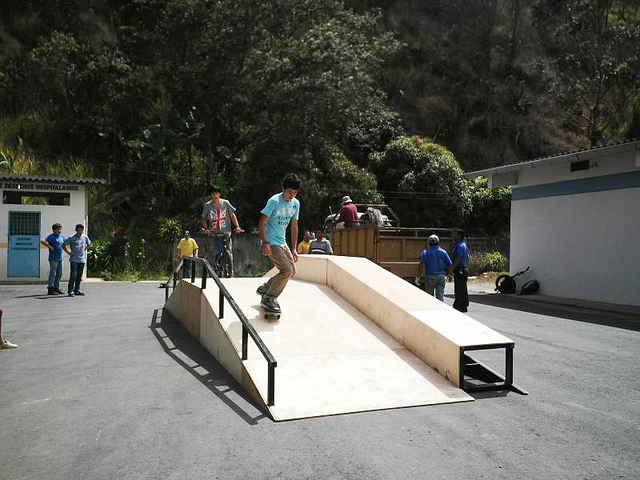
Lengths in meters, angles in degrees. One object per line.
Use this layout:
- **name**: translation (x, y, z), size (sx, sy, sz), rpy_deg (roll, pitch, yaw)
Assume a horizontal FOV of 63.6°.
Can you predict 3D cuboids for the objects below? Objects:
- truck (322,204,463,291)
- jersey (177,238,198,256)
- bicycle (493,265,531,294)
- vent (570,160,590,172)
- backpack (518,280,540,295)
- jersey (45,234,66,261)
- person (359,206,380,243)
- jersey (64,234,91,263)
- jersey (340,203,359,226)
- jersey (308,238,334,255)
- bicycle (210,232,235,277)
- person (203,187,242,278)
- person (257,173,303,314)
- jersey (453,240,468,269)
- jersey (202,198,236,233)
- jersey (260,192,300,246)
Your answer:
- **truck**: translation (2.121, 0.160, 15.622), size (1.805, 2.454, 3.542), rpy_deg (-3, -5, 27)
- **jersey**: translation (-4.182, 0.195, 16.318), size (0.550, 0.499, 0.581), rpy_deg (-1, 6, -23)
- **bicycle**: translation (6.555, 1.422, 17.788), size (1.103, 1.005, 0.678), rpy_deg (-23, 2, 14)
- **vent**: translation (7.766, -2.239, 15.457), size (0.086, 0.340, 0.759), rpy_deg (-1, 5, -15)
- **backpack**: translation (6.798, 1.556, 16.806), size (0.595, 0.486, 0.266), rpy_deg (0, 6, -11)
- **jersey**: translation (-7.608, 0.216, 14.733), size (0.496, 0.770, 0.466), rpy_deg (-2, 6, -31)
- **person**: translation (1.462, -0.492, 15.567), size (0.542, 0.893, 0.763), rpy_deg (0, 0, 21)
- **jersey**: translation (-7.493, 0.232, 15.755), size (0.390, 1.250, 0.918), rpy_deg (-7, -7, 44)
- **jersey**: translation (0.860, -0.823, 15.930), size (0.692, 0.963, 0.465), rpy_deg (-3, 3, -20)
- **jersey**: translation (-0.027, 0.186, 13.383), size (0.560, 0.668, 0.362), rpy_deg (0, -12, 5)
- **bicycle**: translation (-2.191, 0.330, 11.360), size (0.440, 1.004, 0.328), rpy_deg (-1, 6, -16)
- **person**: translation (-2.193, -0.110, 11.288), size (0.752, 2.084, 1.249), rpy_deg (0, 6, -12)
- **person**: translation (-0.698, 0.067, 8.400), size (0.663, 2.273, 0.586), rpy_deg (0, 6, -9)
- **jersey**: translation (3.462, 0.351, 12.776), size (0.303, 0.685, 0.432), rpy_deg (2, 6, 7)
- **jersey**: translation (-2.238, -0.471, 11.252), size (0.696, 0.895, 0.452), rpy_deg (-4, -2, -23)
- **jersey**: translation (-0.638, -0.322, 8.450), size (0.621, 0.909, 0.321), rpy_deg (6, 16, -19)
